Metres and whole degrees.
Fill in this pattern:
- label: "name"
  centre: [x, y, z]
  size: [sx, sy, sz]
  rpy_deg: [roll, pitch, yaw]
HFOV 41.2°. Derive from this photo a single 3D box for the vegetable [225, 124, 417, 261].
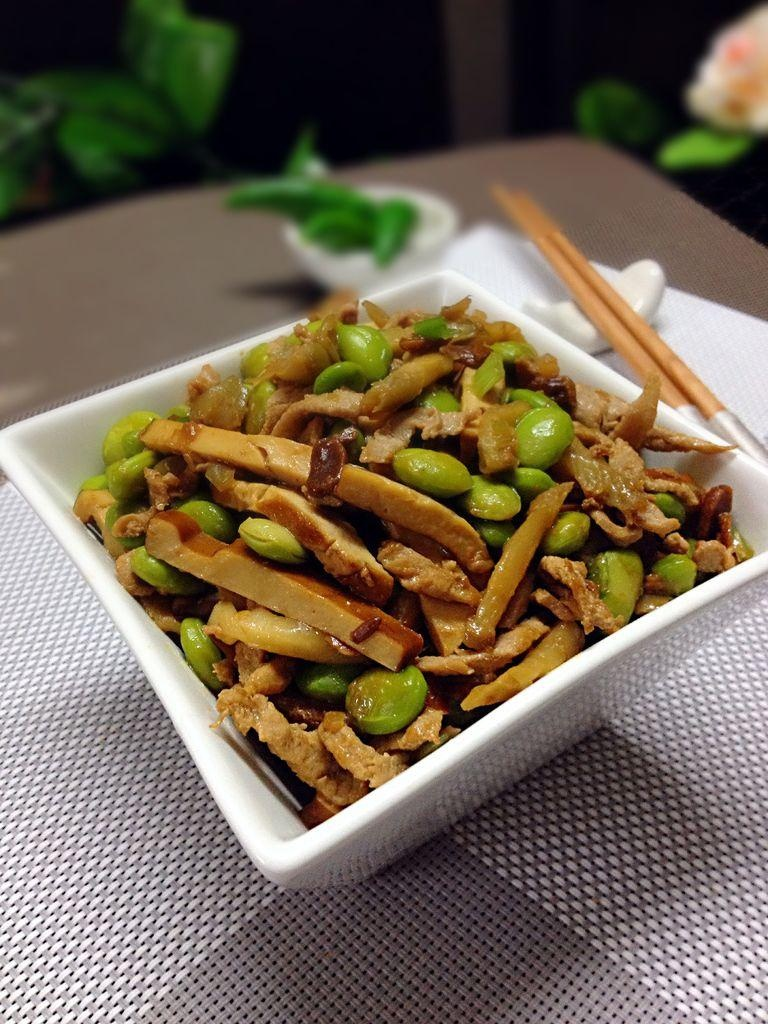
- label: "vegetable"
  centre: [-0.036, -0.177, 0.568]
  size: [0.085, 0.029, 0.064]
  rpy_deg: [-3, 62, -19]
